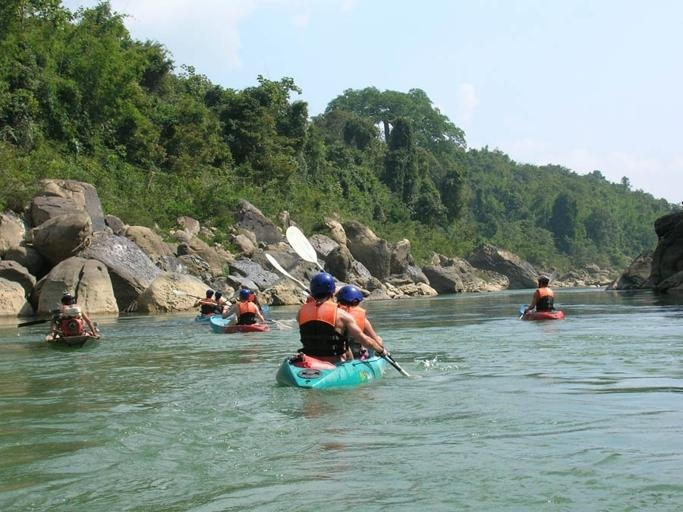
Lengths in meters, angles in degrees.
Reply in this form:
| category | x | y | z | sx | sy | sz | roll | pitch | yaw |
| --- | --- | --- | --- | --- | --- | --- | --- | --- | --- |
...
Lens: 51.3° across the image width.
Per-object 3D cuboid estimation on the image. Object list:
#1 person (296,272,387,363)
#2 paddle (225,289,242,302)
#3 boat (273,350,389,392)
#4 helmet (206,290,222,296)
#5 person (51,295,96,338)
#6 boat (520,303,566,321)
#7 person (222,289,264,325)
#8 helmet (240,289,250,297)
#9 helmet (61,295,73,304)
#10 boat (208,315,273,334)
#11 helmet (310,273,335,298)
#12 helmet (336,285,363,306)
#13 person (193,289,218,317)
| category | x | y | z | sx | sy | sz | roll | pitch | yaw |
| --- | --- | --- | --- | --- | --- | --- | --- | --- | --- |
| person | -0.160 | 0.911 | 9.737 | 0.959 | 0.738 | 1.396 | 2 | -4 | 19 |
| paddle | -3.924 | 1.478 | 25.666 | 0.723 | 0.238 | 1.239 | 1 | -16 | -18 |
| boat | -0.046 | 1.584 | 9.883 | 1.581 | 0.447 | 0.698 | 5 | -7 | -43 |
| helmet | -3.908 | 1.135 | 21.619 | 0.309 | 0.209 | 0.539 | -8 | 9 | -38 |
| person | -5.311 | 1.187 | 14.111 | 0.840 | 0.860 | 0.637 | 2 | -5 | -23 |
| boat | 5.109 | 1.501 | 18.777 | 0.505 | 0.322 | 1.517 | 1 | -6 | -5 |
| person | -2.643 | 1.353 | 18.598 | 0.698 | 0.694 | 1.382 | -2 | -48 | -14 |
| helmet | -2.240 | 0.864 | 16.404 | 0.215 | 0.197 | 0.450 | 1 | -5 | -8 |
| helmet | -5.383 | 0.848 | 13.944 | 0.202 | 0.196 | 0.343 | 2 | -5 | -19 |
| boat | -2.745 | 1.676 | 17.213 | 0.563 | 0.338 | 1.725 | 1 | -5 | -34 |
| helmet | -0.262 | 0.391 | 9.824 | 0.299 | 0.280 | 0.375 | 3 | 16 | 4 |
| helmet | 0.126 | 0.582 | 10.598 | 0.276 | 0.270 | 0.354 | 8 | 6 | 20 |
| person | -4.058 | 1.425 | 21.110 | 0.540 | 0.590 | 0.926 | 5 | -50 | -12 |
